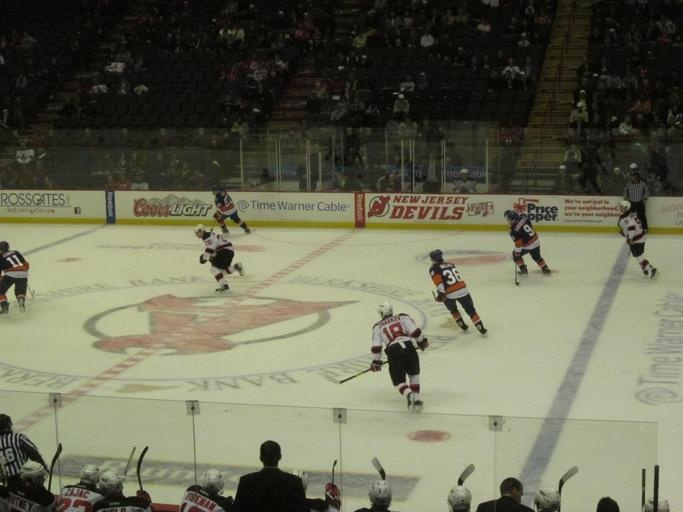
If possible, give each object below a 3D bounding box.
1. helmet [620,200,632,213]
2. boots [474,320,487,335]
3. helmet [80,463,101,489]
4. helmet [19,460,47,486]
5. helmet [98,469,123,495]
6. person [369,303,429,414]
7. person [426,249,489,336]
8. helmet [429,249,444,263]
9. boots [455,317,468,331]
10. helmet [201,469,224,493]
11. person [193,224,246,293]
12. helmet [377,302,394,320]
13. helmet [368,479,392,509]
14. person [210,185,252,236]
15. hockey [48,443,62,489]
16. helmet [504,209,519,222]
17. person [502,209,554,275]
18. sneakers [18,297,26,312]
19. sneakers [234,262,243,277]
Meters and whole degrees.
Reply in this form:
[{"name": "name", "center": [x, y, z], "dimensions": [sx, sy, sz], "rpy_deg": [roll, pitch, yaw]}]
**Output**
[{"name": "helmet", "center": [6.007, -1.014, 20.915], "dimensions": [0.176, 0.226, 0.331], "rpy_deg": [2, 3, 24]}, {"name": "boots", "center": [2.478, 1.268, 17.539], "dimensions": [0.209, 0.269, 0.081], "rpy_deg": [-40, 18, -11]}, {"name": "helmet", "center": [-2.730, 2.401, 10.787], "dimensions": [0.218, 0.222, 0.253], "rpy_deg": [4, 7, -7]}, {"name": "helmet", "center": [-3.367, 2.382, 10.922], "dimensions": [0.238, 0.236, 0.280], "rpy_deg": [3, 14, 12]}, {"name": "helmet", "center": [-2.466, 2.428, 10.647], "dimensions": [0.228, 0.225, 0.281], "rpy_deg": [-14, 32, -10]}, {"name": "person", "center": [0.866, 1.487, 14.760], "dimensions": [0.991, 1.608, 0.923], "rpy_deg": [-16, -11, 1]}, {"name": "person", "center": [2.094, 0.654, 17.581], "dimensions": [0.931, 1.511, 0.875], "rpy_deg": [1, 4, 15]}, {"name": "helmet", "center": [1.697, 0.009, 17.390], "dimensions": [0.231, 0.247, 0.264], "rpy_deg": [-2, 11, -14]}, {"name": "boots", "center": [2.151, 1.236, 17.818], "dimensions": [0.110, 0.274, 0.180], "rpy_deg": [-24, 19, 26]}, {"name": "helmet", "center": [-1.390, 2.442, 10.774], "dimensions": [0.249, 0.221, 0.268], "rpy_deg": [5, 22, -6]}, {"name": "person", "center": [-2.580, 0.059, 20.681], "dimensions": [0.492, 1.384, 1.115], "rpy_deg": [2, 4, 27]}, {"name": "helmet", "center": [0.672, 0.826, 14.843], "dimensions": [0.225, 0.234, 0.273], "rpy_deg": [-7, 13, -43]}, {"name": "helmet", "center": [0.406, 2.513, 10.407], "dimensions": [0.221, 0.317, 0.223], "rpy_deg": [0, 3, -3]}, {"name": "person", "center": [-3.001, -1.230, 26.409], "dimensions": [0.866, 1.435, 0.677], "rpy_deg": [-14, 23, -2]}, {"name": "hockey", "center": [-3.490, 2.527, 12.011], "dimensions": [0.066, 0.597, 0.076], "rpy_deg": [16, 0, -18]}, {"name": "helmet", "center": [3.586, -0.801, 20.721], "dimensions": [0.279, 0.240, 0.434], "rpy_deg": [1, 3, 9]}, {"name": "person", "center": [3.905, -0.257, 20.998], "dimensions": [0.583, 1.351, 1.137], "rpy_deg": [2, 4, 23]}, {"name": "sneakers", "center": [-6.257, 0.954, 19.270], "dimensions": [0.132, 0.305, 0.142], "rpy_deg": [2, -2, -8]}, {"name": "sneakers", "center": [-2.197, 0.308, 21.288], "dimensions": [0.155, 0.118, 0.335], "rpy_deg": [-1, -31, 14]}]
